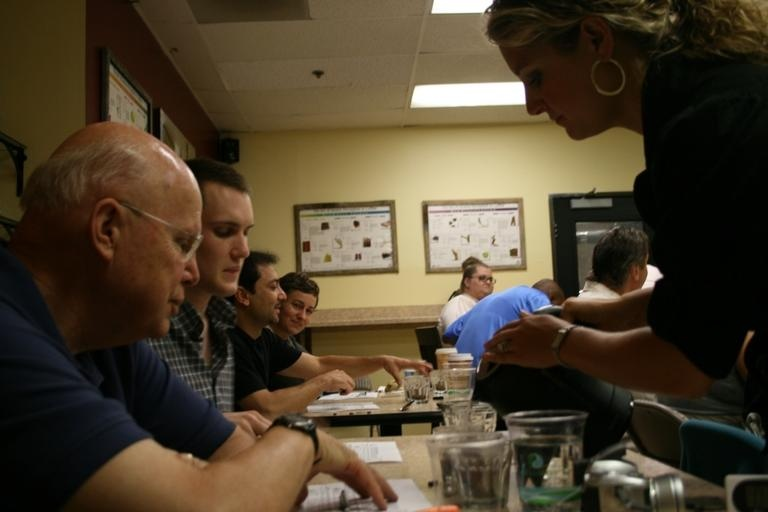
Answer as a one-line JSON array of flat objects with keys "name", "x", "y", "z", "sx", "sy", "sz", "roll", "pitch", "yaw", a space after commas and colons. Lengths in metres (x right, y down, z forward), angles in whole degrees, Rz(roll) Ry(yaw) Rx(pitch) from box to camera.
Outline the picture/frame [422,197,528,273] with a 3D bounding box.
[{"name": "picture/frame", "x": 0.870, "y": -0.185, "z": 5.990, "sx": 0.736, "sy": 0.531, "sz": 0.028, "roll": 0, "pitch": -13, "yaw": -4}]

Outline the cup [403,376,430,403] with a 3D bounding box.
[{"name": "cup", "x": 0.165, "y": 0.668, "z": 3.056, "sx": 0.126, "sy": 0.119, "sz": 0.114, "roll": 5, "pitch": -9, "yaw": -26}]

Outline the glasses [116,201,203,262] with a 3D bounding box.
[{"name": "glasses", "x": -0.477, "y": -0.047, "z": 1.296, "sx": 0.124, "sy": 0.034, "sz": 0.120, "roll": 31, "pitch": -9, "yaw": -6}]
